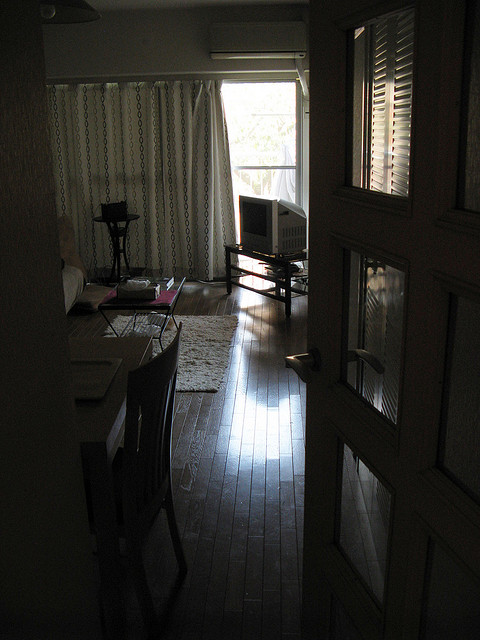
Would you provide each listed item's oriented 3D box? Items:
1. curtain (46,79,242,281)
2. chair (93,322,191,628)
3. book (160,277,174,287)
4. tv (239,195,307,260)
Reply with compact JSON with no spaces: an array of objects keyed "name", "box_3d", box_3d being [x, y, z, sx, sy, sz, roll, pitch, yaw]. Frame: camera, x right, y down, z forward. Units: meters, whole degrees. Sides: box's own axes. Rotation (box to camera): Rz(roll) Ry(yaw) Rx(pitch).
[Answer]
[{"name":"curtain","box_3d":[-1.139,-1.930,5.870,1.768,3.108,0.190,-1,10,6]},{"name":"chair","box_3d":[-0.444,0.564,1.787,0.376,1.005,0.454,6,14,16]},{"name":"book","box_3d":[-0.728,-0.383,4.601,0.073,0.027,0.095,-11,25,16]},{"name":"tv","box_3d":[0.395,-1.078,5.420,0.525,0.967,0.866,-6,15,-26]}]
